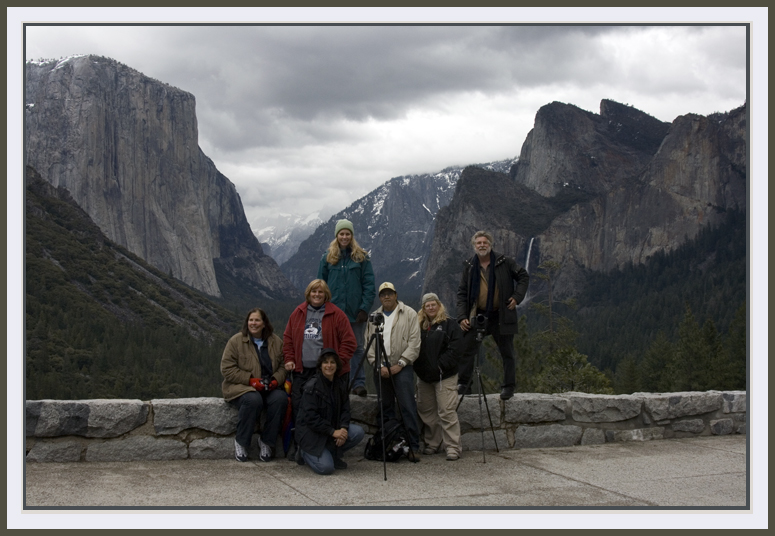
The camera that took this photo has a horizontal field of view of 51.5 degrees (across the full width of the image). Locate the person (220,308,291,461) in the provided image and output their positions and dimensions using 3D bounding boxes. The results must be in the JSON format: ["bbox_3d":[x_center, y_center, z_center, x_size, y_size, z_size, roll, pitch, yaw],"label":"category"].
[{"bbox_3d":[-2.137,1.882,13.037,1.046,2.437,0.373,0,-3,-9],"label":"person"}]

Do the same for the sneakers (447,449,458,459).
[{"bbox_3d":[1.062,3.015,13.030,0.194,0.172,0.088,0,-3,-3],"label":"sneakers"}]

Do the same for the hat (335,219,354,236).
[{"bbox_3d":[-0.749,-0.734,13.860,0.257,0.277,0.336,2,-12,-6],"label":"hat"}]

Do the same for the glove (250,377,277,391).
[{"bbox_3d":[-2.000,1.868,12.942,0.296,0.106,0.219,7,-13,2],"label":"glove"}]

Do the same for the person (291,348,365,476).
[{"bbox_3d":[-0.956,2.244,12.648,0.991,1.895,0.384,0,-3,-13],"label":"person"}]

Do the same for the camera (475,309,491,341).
[{"bbox_3d":[1.608,0.997,13.584,0.310,0.397,0.156,3,7,26],"label":"camera"}]

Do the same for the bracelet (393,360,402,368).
[{"bbox_3d":[0.191,1.556,13.088,0.086,0.039,0.099,-5,36,5],"label":"bracelet"}]

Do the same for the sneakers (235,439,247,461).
[{"bbox_3d":[-2.387,2.944,13.000,0.162,0.159,0.375,16,6,-36],"label":"sneakers"}]

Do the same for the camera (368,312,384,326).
[{"bbox_3d":[-0.153,0.805,12.769,0.185,0.227,0.200,2,3,32],"label":"camera"}]

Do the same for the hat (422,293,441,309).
[{"bbox_3d":[0.723,0.517,13.409,0.250,0.163,0.248,-4,-18,2],"label":"hat"}]
